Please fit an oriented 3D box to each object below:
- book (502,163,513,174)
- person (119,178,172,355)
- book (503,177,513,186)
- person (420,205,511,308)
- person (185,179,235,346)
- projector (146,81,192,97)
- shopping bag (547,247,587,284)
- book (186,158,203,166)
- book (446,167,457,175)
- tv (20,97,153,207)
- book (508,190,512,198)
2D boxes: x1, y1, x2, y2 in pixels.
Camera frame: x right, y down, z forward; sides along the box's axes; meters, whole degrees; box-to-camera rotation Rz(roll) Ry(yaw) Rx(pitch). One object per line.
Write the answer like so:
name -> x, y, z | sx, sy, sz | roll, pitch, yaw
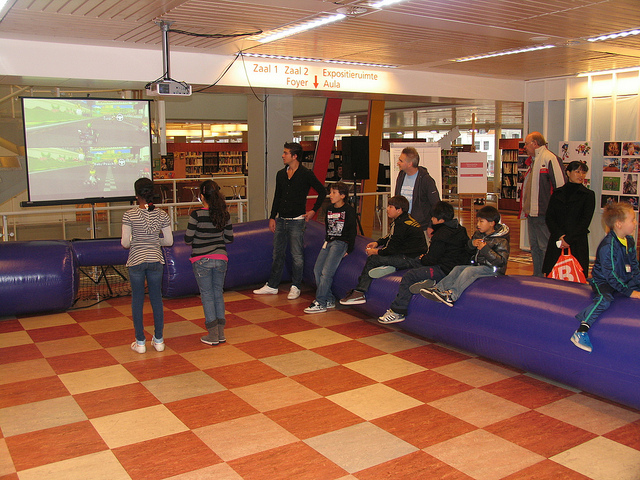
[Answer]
book -> 7.520, -2.894, 18.131 | 0.185, 0.426, 0.454 | -6, 11, -30
person -> -1.690, 0.264, 4.454 | 0.475, 1.731, 0.284 | -4, 11, -21
book -> 7.447, -2.328, 17.848 | 0.337, 0.309, 0.505 | 2, 10, 12
person -> 1.600, 0.055, 4.958 | 1.274, 1.158, 0.639 | -1, 18, -20
person -> -1.126, 0.245, 4.619 | 0.458, 1.706, 0.241 | -2, 10, -11
projector -> -1.941, -1.951, 5.805 | 0.535, 0.191, 0.278 | -3, 10, -16
shopping bag -> 2.659, 0.274, 4.823 | 0.381, 0.451, 0.177 | 3, 9, 44
book -> -5.727, -3.603, 20.564 | 0.676, 0.325, 0.618 | 1, -1, -13
book -> 5.356, -2.838, 18.434 | 0.433, 0.281, 0.219 | 4, 10, 22
tv -> -3.181, -1.193, 6.208 | 1.982, 1.510, 0.149 | 1, 2, 9
book -> 7.277, -1.802, 17.354 | 0.089, 0.255, 0.254 | 3, 10, 19
